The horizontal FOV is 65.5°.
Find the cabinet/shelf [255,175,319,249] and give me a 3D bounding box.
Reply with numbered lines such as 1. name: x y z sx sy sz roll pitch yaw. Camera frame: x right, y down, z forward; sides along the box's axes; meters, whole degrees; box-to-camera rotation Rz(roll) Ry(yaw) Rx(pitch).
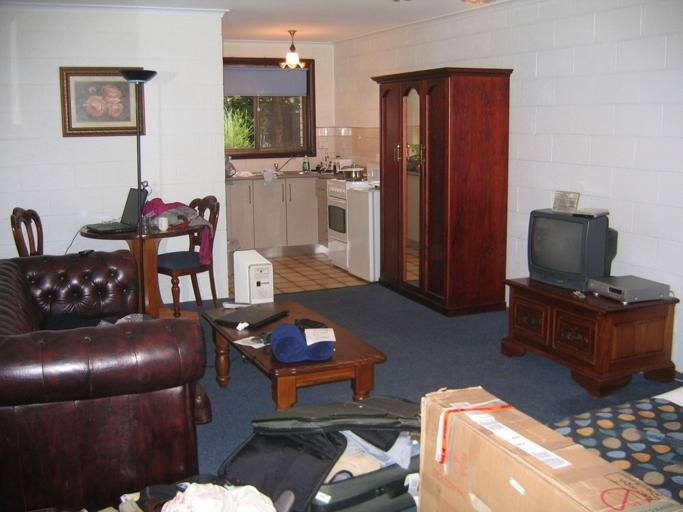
1. cabinet/shelf: -0.844 -0.685 7.781 0.983 0.901 0.379 -5 9 -25

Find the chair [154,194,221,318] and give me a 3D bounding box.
1. chair: -1.577 0.003 5.319 0.693 1.138 0.760 2 10 3

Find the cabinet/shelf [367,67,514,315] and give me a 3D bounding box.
1. cabinet/shelf: 1.051 -0.802 5.823 0.811 2.413 1.579 -6 12 -21

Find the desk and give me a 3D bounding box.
1. desk: -1.799 0.182 4.919 0.822 0.828 0.823 -5 0 -29

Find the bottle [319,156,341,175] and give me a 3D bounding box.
1. bottle: -0.190 -1.418 8.312 0.366 0.355 0.192 6 7 37

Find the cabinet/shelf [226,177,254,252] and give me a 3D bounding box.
1. cabinet/shelf: -1.427 -0.590 7.518 0.395 0.990 0.212 -3 13 -12

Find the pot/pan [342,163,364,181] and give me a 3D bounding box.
1. pot/pan: 0.111 -1.149 7.375 0.292 0.188 0.357 -6 10 -36

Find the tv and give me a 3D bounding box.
1. tv: 1.913 -0.078 4.320 0.563 0.578 0.599 -10 13 -27

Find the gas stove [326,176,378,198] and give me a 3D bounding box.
1. gas stove: 0.119 -0.920 6.963 0.336 0.243 0.464 -3 13 -16

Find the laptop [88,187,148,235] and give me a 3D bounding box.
1. laptop: -2.077 -0.434 4.867 0.470 0.361 0.580 -5 12 -30

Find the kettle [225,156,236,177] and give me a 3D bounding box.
1. kettle: -1.605 -1.315 7.740 0.156 0.270 0.661 -3 14 -11

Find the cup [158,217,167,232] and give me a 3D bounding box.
1. cup: -1.600 -0.287 4.776 0.120 0.177 0.107 0 3 -20

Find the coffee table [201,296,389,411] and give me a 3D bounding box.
1. coffee table: -0.193 0.298 3.181 0.640 0.542 1.191 -5 15 -28

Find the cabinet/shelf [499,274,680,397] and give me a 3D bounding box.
1. cabinet/shelf: 1.910 0.482 3.995 0.791 0.623 0.994 -7 16 -25
